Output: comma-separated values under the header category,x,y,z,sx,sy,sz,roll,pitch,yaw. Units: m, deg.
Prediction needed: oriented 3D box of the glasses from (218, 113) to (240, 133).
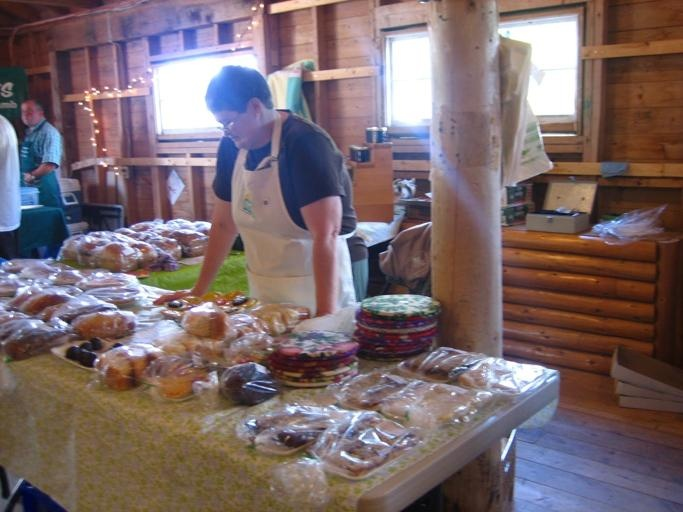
category,x,y,z,sx,sy,sz,roll,pitch,yaw
glasses,-0.429,-0.504,1.988,0.067,0.052,0.071,-2,25,-12

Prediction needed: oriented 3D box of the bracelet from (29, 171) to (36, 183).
category,x,y,z,sx,sy,sz,roll,pitch,yaw
bracelet,-3.178,-0.820,5.395,0.079,0.086,0.097,3,-4,-10

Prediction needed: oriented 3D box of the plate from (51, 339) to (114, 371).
category,x,y,z,sx,sy,sz,roll,pitch,yaw
plate,-0.814,0.297,1.619,0.129,0.024,0.132,4,11,19
